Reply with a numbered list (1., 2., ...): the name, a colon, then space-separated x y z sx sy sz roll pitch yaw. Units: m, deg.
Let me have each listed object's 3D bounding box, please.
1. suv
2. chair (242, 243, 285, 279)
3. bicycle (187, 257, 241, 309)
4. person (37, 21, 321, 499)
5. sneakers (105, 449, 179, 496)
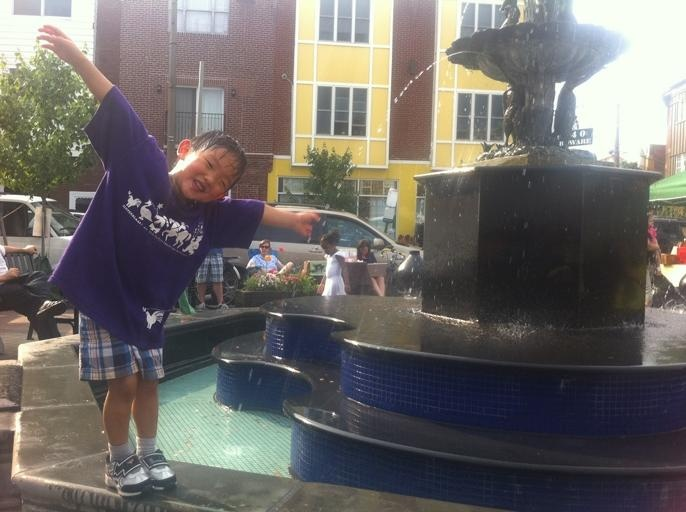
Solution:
1. suv: -0.379 -0.293 12.837 2.861 1.403 1.664 -2 4 1
2. chair: -1.372 0.100 11.455 0.514 0.569 0.737 0 -2 -7
3. bicycle: -1.956 0.462 9.943 0.867 1.106 0.264 1 -7 -2
4. person: -1.028 0.022 3.592 1.141 2.426 0.506 -1 7 -27
5. sneakers: -1.110 1.150 3.532 0.311 0.153 0.198 -5 -5 37
